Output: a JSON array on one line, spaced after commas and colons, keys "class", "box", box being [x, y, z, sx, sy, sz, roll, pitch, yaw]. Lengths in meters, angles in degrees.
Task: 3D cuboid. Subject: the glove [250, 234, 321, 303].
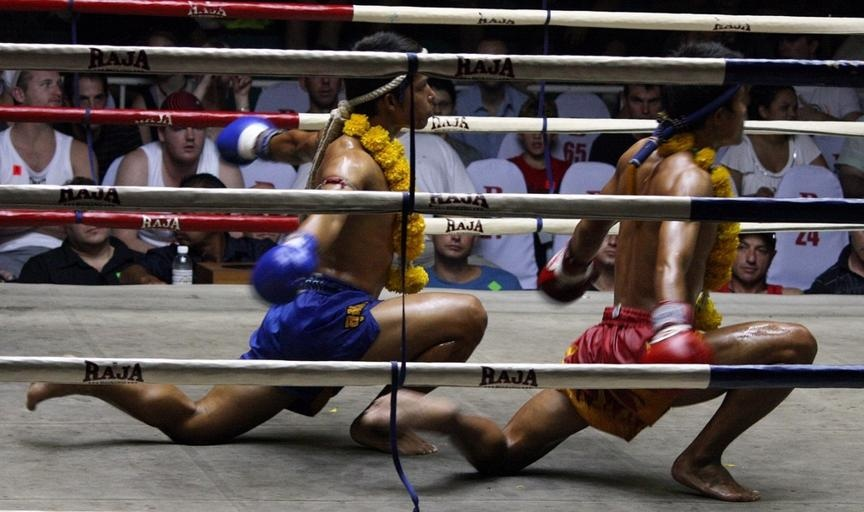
[{"class": "glove", "box": [-0.576, 0.047, 5.749, 0.224, 0.321, 0.107, 50, -7, 13]}]

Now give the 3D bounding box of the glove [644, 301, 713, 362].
[{"class": "glove", "box": [0.998, 0.315, 5.913, 0.333, 0.211, 0.276, 1, -2, 12]}]
